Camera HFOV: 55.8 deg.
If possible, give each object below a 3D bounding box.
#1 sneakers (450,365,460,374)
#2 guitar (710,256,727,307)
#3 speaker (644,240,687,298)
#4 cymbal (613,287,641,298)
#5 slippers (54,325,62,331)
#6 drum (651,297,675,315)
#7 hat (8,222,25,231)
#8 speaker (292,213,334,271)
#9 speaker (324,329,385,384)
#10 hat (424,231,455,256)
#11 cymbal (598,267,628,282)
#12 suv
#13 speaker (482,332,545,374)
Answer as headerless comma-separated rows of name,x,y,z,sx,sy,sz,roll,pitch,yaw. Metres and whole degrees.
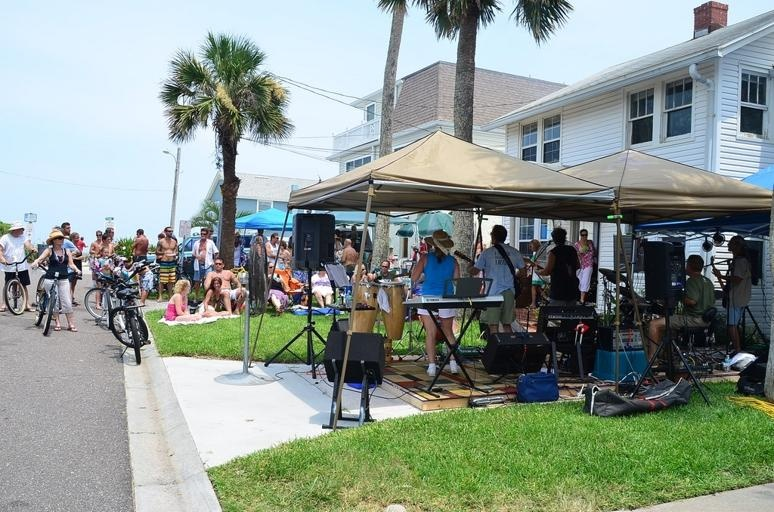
sneakers,1.200,2.035,13.115,0.147,0.163,0.379,-1,-13,7
guitar,7.401,0.555,16.188,0.294,1.135,1.096,1,-5,18
speaker,4.644,0.285,12.196,0.642,1.061,0.644,1,14,8
cymbal,4.962,0.750,15.183,0.326,0.109,0.454,13,-5,26
slippers,-7.453,1.602,16.348,0.109,0.078,0.275,0,-5,-28
drum,4.883,0.877,12.991,0.492,0.316,0.453,-1,-2,0
hat,-9.029,-0.736,17.644,0.270,0.222,0.267,-10,16,-31
speaker,-1.347,-0.297,13.176,0.765,1.055,0.993,1,-3,-30
speaker,-0.489,1.484,11.308,0.978,0.861,0.753,4,-7,6
hat,0.930,-0.233,12.500,0.353,0.425,0.173,0,14,5
cymbal,4.703,0.376,15.153,0.351,0.168,0.466,6,2,5
suv,-4.929,0.241,19.590,3.189,1.895,1.868,1,-3,-26
speaker,2.078,1.586,11.842,1.024,0.707,0.659,1,-4,-11
